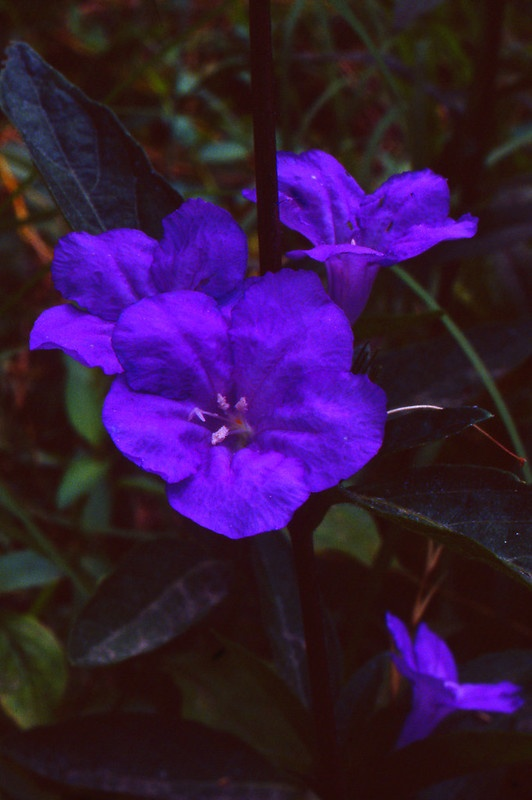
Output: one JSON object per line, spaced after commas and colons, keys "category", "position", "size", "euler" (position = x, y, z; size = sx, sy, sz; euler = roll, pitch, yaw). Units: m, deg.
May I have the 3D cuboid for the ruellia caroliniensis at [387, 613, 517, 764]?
{"category": "ruellia caroliniensis", "position": [0.126, 0.188, 0.517], "size": [0.087, 0.072, 0.079], "euler": [-7, 45, 9]}

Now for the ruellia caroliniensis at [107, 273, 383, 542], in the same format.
{"category": "ruellia caroliniensis", "position": [-0.013, 0.001, 0.489], "size": [0.160, 0.118, 0.154], "euler": [-35, 47, -20]}

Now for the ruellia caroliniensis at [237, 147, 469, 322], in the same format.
{"category": "ruellia caroliniensis", "position": [0.055, -0.106, 0.603], "size": [0.161, 0.091, 0.136], "euler": [6, 48, -7]}
